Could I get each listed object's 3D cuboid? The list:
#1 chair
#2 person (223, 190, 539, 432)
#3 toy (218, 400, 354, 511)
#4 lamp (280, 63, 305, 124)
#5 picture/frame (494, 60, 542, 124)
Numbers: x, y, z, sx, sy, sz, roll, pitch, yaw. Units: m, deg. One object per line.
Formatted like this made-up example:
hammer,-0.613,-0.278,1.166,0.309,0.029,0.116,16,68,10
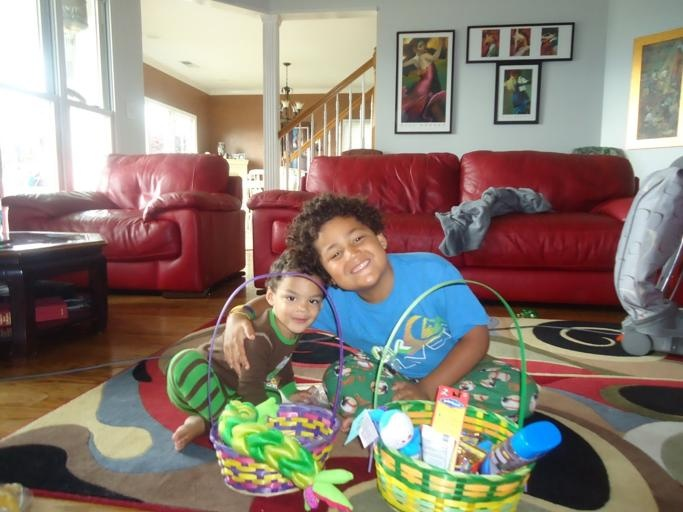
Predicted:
chair,-1.205,-0.196,3.507,1.237,0.861,0.972,2,6,11
person,0.136,0.192,1.860,1.050,0.811,0.609,-7,-1,17
toy,-0.164,0.561,1.494,0.442,0.239,0.164,6,11,31
lamp,-0.749,-2.255,7.453,0.408,0.811,0.386,-9,13,-42
picture/frame,1.575,-1.472,4.749,0.535,0.715,0.027,1,9,5
